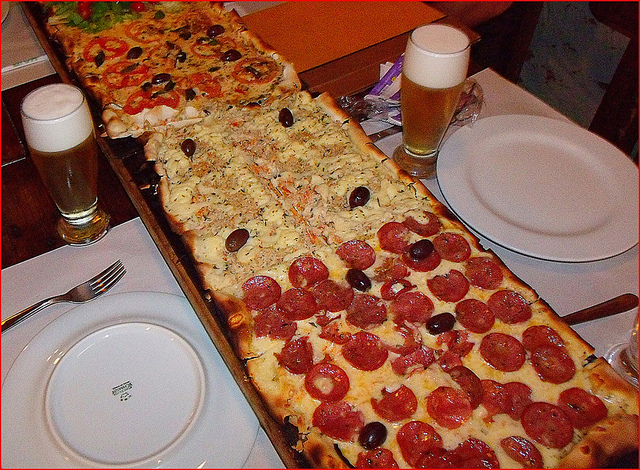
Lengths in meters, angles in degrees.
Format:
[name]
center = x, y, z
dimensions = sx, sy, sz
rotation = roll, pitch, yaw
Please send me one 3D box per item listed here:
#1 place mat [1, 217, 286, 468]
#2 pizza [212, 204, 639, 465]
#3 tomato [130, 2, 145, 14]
[place mat]
center = -1.013, 0.398, 2.245
dimensions = 0.706, 0.030, 1.114
rotation = -27, 62, -19
[pizza]
center = 0.314, 0.351, 1.595
dimensions = 1.311, 0.165, 0.957
rotation = -8, 55, -5
[tomato]
center = -1.160, -1.441, 2.976
dimensions = 0.086, 0.045, 0.060
rotation = -1, 55, 0
